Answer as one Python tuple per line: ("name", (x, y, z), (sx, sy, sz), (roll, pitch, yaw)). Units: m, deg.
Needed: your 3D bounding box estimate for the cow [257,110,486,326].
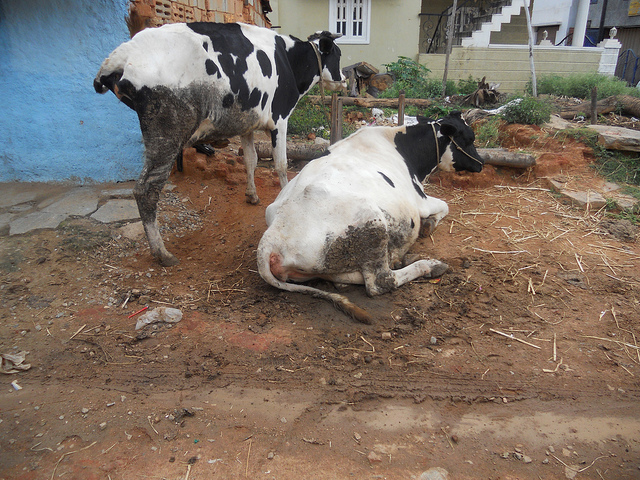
("cow", (0.892, -0.277, 5.155), (1.749, 1.312, 3.246), (28, 48, 33))
